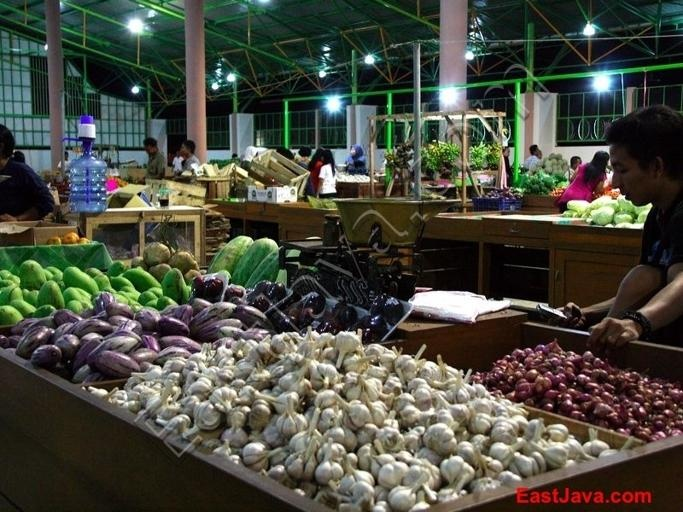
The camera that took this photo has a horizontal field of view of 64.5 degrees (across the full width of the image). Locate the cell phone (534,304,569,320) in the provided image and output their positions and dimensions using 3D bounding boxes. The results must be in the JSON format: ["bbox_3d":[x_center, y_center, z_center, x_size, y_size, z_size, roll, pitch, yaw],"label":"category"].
[{"bbox_3d":[0.803,0.210,2.079,0.084,0.024,0.049,32,10,37],"label":"cell phone"}]

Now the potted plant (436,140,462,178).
[{"bbox_3d":[1.276,-1.135,6.395,0.399,0.483,0.340,4,10,23],"label":"potted plant"}]

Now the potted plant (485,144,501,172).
[{"bbox_3d":[2.006,-1.296,7.115,0.167,0.354,0.604,3,11,17],"label":"potted plant"}]

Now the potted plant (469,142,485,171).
[{"bbox_3d":[1.696,-1.260,6.775,0.290,0.387,0.294,1,2,24],"label":"potted plant"}]

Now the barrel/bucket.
[{"bbox_3d":[-2.177,-0.797,4.595,0.313,0.809,0.780,-4,11,-25],"label":"barrel/bucket"}]

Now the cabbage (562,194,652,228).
[{"bbox_3d":[2.121,-0.356,4.335,0.475,0.221,0.643,-9,11,-38],"label":"cabbage"}]

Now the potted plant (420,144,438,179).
[{"bbox_3d":[1.076,-1.150,6.557,0.190,0.433,0.423,2,10,8],"label":"potted plant"}]
